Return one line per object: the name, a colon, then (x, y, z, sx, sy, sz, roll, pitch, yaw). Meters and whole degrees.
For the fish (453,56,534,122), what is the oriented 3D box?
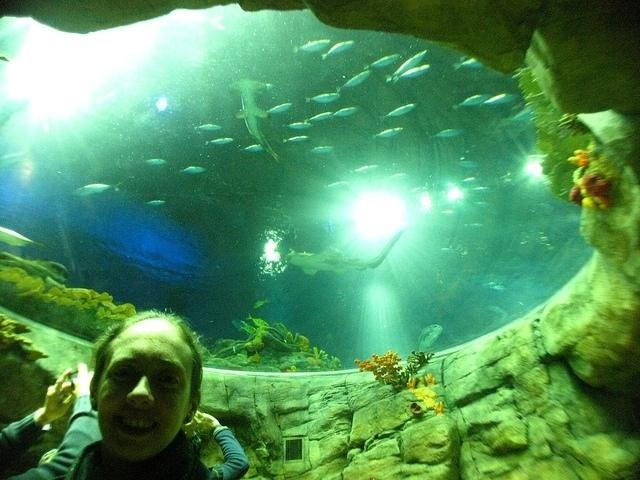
fish: (4.609, -4.092, 16.625, 2.325, 0.799, 1.240, 18, -70, -16)

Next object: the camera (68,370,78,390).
camera: (-5.225, 2.969, 12.668, 0.188, 0.165, 0.470, 4, -81, 7)
